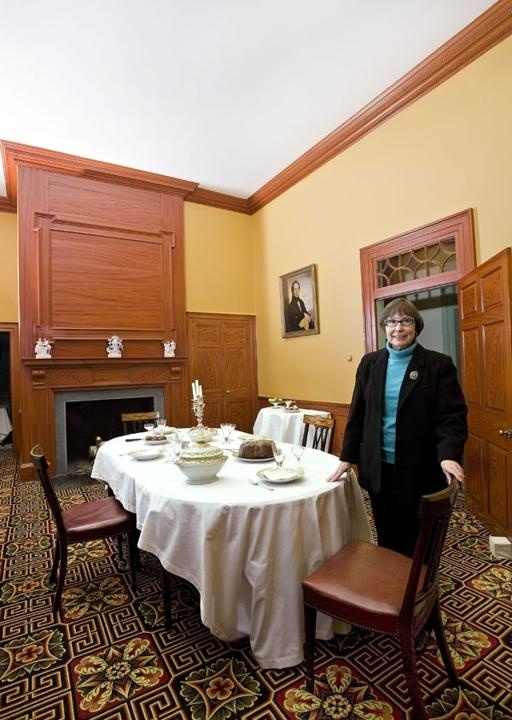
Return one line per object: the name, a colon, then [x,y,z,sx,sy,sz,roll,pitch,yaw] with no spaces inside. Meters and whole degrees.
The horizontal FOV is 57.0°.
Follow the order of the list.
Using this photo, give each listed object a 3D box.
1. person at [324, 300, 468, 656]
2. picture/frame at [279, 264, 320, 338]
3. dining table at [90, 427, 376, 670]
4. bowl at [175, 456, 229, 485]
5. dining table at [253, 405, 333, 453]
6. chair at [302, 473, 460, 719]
person: [0.701,0.474,2.291,0.667,1.442,0.454,2,6,40]
picture/frame: [0.567,-0.752,6.250,0.142,0.927,0.839,-1,0,-22]
dining table: [-0.112,0.850,2.103,0.722,0.309,1.239,-1,-8,-27]
bowl: [-0.262,0.532,2.242,0.160,0.070,0.163,-3,2,0]
dining table: [0.306,0.714,5.067,0.536,0.289,0.585,2,-11,13]
chair: [0.477,0.873,1.832,0.607,0.868,0.467,-1,0,36]
